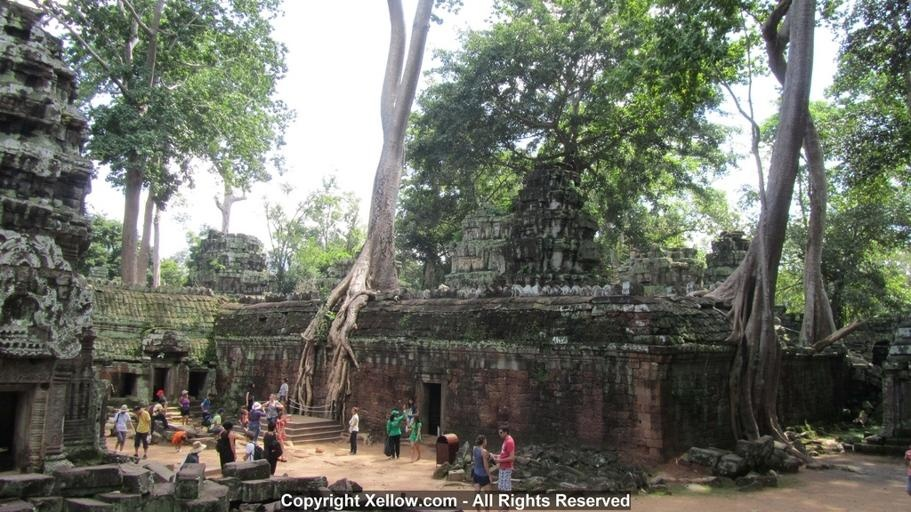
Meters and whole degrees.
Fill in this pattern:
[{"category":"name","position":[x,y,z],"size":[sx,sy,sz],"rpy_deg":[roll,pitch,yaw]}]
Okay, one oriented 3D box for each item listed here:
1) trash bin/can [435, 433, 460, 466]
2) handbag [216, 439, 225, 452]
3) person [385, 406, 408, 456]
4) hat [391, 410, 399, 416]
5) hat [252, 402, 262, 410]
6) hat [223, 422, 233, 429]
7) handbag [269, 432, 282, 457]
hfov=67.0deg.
[{"category":"trash bin/can","position":[-0.244,5.552,19.629],"size":[0.604,0.843,0.426],"rpy_deg":[5,-13,-9]},{"category":"handbag","position":[-6.090,4.903,17.792],"size":[0.346,0.335,0.103],"rpy_deg":[-8,-17,37]},{"category":"person","position":[-1.878,5.638,21.806],"size":[0.570,1.509,1.604],"rpy_deg":[3,-13,-1]},{"category":"hat","position":[-1.858,4.912,21.317],"size":[0.229,0.190,0.309],"rpy_deg":[4,-13,-5]},{"category":"hat","position":[-6.140,4.658,21.259],"size":[0.378,0.177,0.479],"rpy_deg":[6,-15,-18]},{"category":"hat","position":[-5.938,4.447,17.942],"size":[0.158,0.176,0.344],"rpy_deg":[5,-13,-11]},{"category":"handbag","position":[-4.632,5.016,18.159],"size":[0.218,0.567,0.434],"rpy_deg":[-12,4,-41]}]
